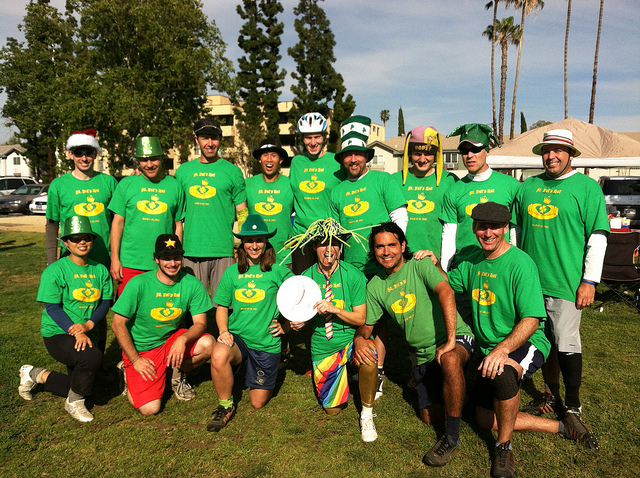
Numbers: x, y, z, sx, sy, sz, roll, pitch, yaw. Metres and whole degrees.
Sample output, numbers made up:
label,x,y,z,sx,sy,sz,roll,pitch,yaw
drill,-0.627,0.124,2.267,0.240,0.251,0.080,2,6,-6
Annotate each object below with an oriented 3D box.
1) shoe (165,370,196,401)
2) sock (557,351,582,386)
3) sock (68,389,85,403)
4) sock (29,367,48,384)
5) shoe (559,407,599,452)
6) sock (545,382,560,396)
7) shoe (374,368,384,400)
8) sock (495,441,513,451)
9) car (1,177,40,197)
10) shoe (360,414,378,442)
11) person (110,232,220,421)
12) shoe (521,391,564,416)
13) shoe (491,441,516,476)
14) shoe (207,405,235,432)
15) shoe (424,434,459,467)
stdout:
label,x,y,z,sx,sy,sz,roll,pitch,yaw
shoe,-1.909,1.948,7.139,0.556,0.260,0.223,21,6,26
sock,3.010,1.542,6.433,0.266,0.390,0.178,1,11,15
sock,-3.009,1.932,6.580,0.121,0.145,0.151,-1,-4,0
sock,-3.626,1.748,6.841,0.121,0.133,0.219,10,9,-41
shoe,3.042,2.220,6.177,0.184,0.272,0.546,9,10,-33
sock,2.966,1.923,6.789,0.177,0.171,0.138,10,-17,-36
shoe,0.793,1.891,7.121,0.072,0.387,0.323,1,11,15
sock,2.049,2.316,5.975,0.090,0.106,0.117,0,-13,5
car,-17.030,-3.084,30.532,2.450,1.035,1.105,-3,6,-9
shoe,0.574,2.228,6.306,0.202,0.237,0.221,-2,11,3
person,-2.013,1.094,6.936,1.326,2.134,1.184,-3,15,-35
shoe,2.717,2.070,6.773,0.673,0.313,0.228,-1,-4,-10
shoe,2.010,2.403,5.840,0.253,0.295,0.306,2,12,19
shoe,-1.208,2.160,6.526,0.197,0.210,0.423,1,12,17
shoe,1.354,2.367,5.941,0.177,0.200,0.505,37,18,21
